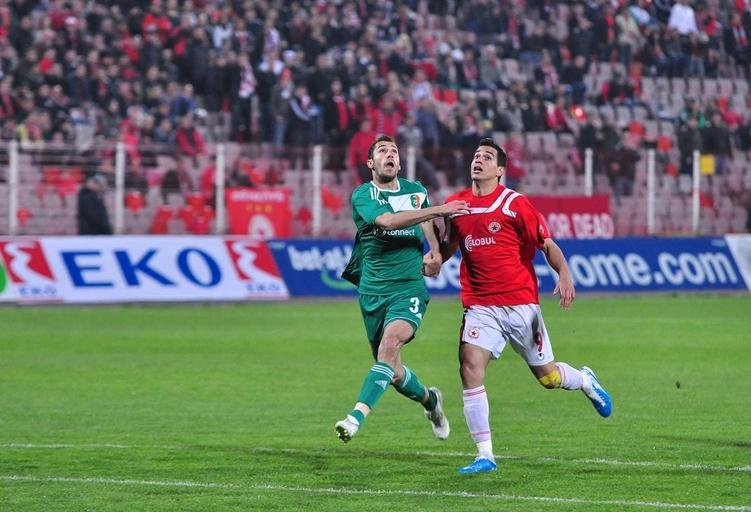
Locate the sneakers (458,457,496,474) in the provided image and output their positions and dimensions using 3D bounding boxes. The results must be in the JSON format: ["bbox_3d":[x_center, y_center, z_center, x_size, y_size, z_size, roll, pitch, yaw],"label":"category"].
[{"bbox_3d":[1.368,2.806,20.745,0.425,0.157,0.212,2,-10,-4],"label":"sneakers"}]

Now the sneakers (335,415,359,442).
[{"bbox_3d":[-0.384,2.305,20.534,0.301,0.273,0.264,-5,2,-18],"label":"sneakers"}]
